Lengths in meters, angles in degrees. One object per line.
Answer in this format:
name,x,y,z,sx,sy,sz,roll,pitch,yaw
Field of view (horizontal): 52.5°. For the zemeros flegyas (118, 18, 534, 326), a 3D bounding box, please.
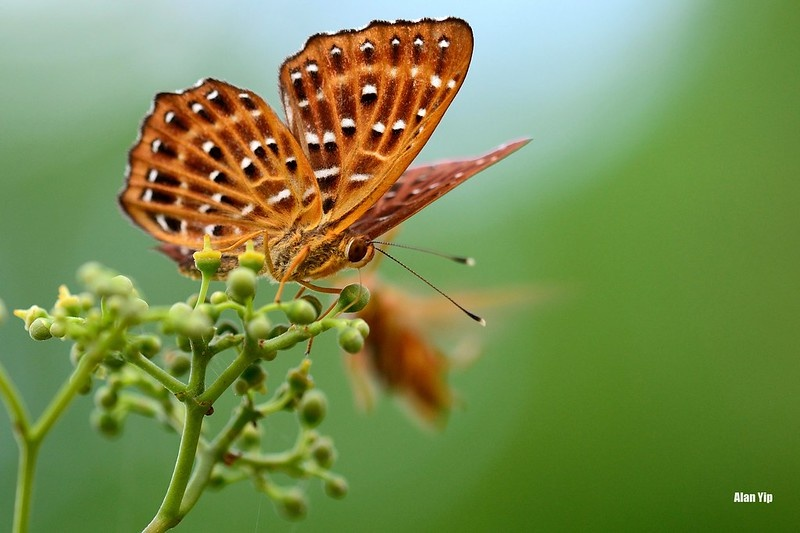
zemeros flegyas,-0.443,-0.558,3.817,1.485,1.533,0.781,-7,12,-32
